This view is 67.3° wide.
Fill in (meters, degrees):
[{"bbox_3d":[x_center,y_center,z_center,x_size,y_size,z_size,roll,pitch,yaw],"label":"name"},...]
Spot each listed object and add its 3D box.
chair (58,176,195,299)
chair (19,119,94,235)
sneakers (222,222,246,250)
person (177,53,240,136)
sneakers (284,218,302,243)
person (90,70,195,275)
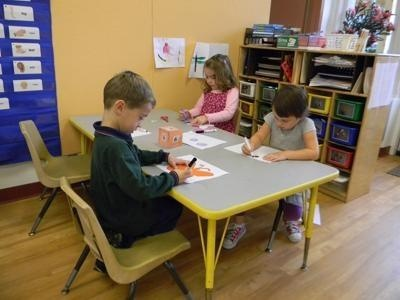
[{"bbox_3d":[-0.399,0.518,1.677,0.437,0.602,0.418,-21,38,-33],"label":"chair"},{"bbox_3d":[-1.060,0.165,2.334,0.505,0.716,0.460,-4,20,-26],"label":"chair"},{"bbox_3d":[0.261,0.631,2.291,0.093,0.115,0.257,17,27,35],"label":"sneakers"},{"bbox_3d":[0.076,-0.466,2.767,0.513,0.762,0.489,7,15,25],"label":"person"},{"bbox_3d":[0.745,0.626,2.343,0.073,0.100,0.222,-6,13,-7],"label":"sneakers"},{"bbox_3d":[-0.322,0.117,1.762,0.523,1.058,0.576,13,15,36],"label":"person"}]
